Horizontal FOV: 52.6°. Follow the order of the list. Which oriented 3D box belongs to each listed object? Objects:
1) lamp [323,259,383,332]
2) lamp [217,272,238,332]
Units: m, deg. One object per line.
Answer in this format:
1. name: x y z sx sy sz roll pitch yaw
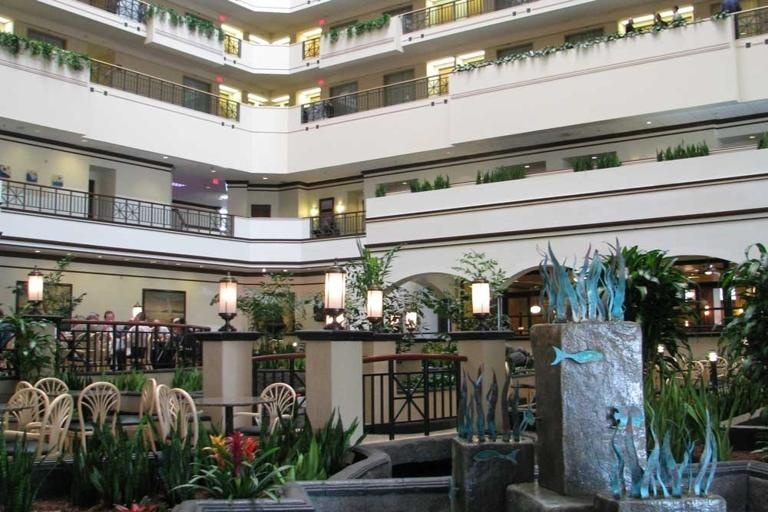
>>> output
1. lamp: -0.668 0.734 13.591 1.075 1.071 1.063 4 -4 -36
2. lamp: -2.637 0.804 13.122 0.289 1.159 2.097 0 -11 -12
